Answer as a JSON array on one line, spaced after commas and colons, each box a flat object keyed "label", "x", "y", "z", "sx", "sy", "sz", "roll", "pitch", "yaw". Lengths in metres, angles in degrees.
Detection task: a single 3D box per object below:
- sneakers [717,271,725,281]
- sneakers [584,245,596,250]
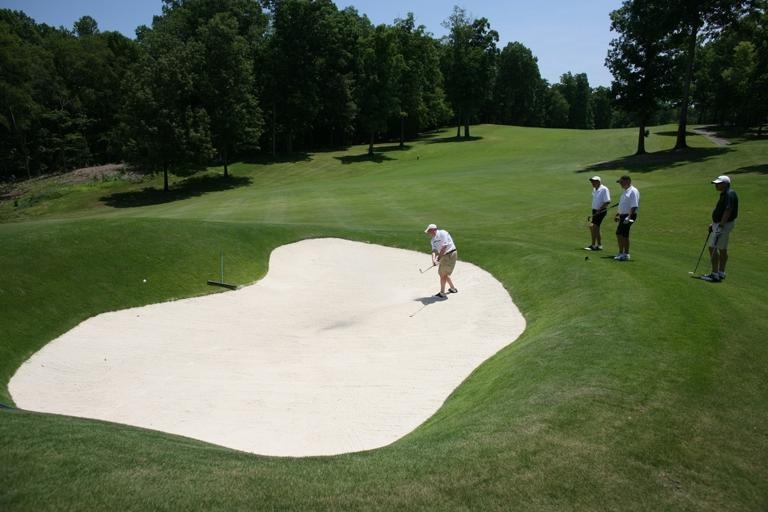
[{"label": "sneakers", "x": 15.987, "y": 0.944, "z": 34.887, "sx": 0.257, "sy": 0.269, "sz": 0.420, "roll": -1, "pitch": -10, "yaw": 7}, {"label": "sneakers", "x": 11.060, "y": -0.455, "z": 39.490, "sx": 0.566, "sy": 0.231, "sz": 0.202, "roll": -5, "pitch": 40, "yaw": 35}]
